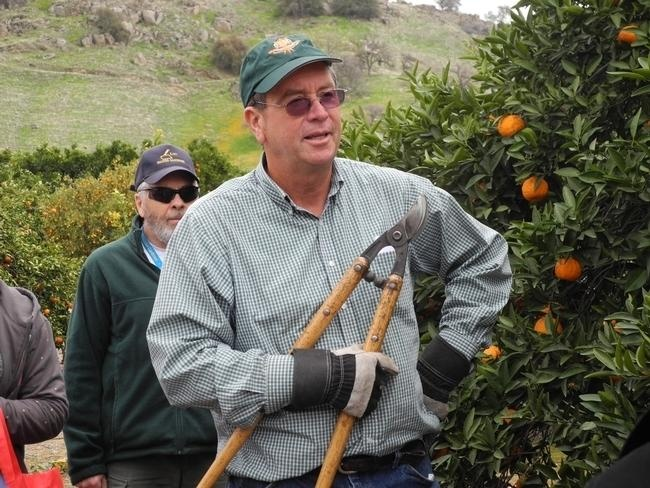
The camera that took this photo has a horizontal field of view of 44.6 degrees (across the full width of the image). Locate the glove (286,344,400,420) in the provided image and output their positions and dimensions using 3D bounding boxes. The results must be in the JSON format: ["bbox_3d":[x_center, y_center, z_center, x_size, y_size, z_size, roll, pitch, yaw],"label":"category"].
[{"bbox_3d":[0.099,0.581,3.529,0.465,0.252,0.329,-4,11,-9],"label":"glove"}]

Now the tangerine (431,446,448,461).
[{"bbox_3d":[0.695,1.292,4.774,0.058,0.104,0.084,3,-8,7],"label":"tangerine"}]

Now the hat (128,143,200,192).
[{"bbox_3d":[-1.123,-0.558,5.511,0.366,0.306,0.525,-9,0,-32],"label":"hat"}]

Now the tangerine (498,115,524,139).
[{"bbox_3d":[1.149,-0.739,4.901,0.126,0.157,0.135,-2,6,11],"label":"tangerine"}]

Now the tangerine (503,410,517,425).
[{"bbox_3d":[1.082,1.029,4.625,0.068,0.050,0.089,-39,14,52],"label":"tangerine"}]

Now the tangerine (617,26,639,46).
[{"bbox_3d":[1.772,-1.242,4.613,0.081,0.102,0.158,10,13,1],"label":"tangerine"}]

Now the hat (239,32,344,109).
[{"bbox_3d":[-0.177,-0.870,3.797,0.417,0.332,0.585,-13,3,-22],"label":"hat"}]

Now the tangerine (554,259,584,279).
[{"bbox_3d":[1.403,0.151,4.557,0.111,0.137,0.126,-9,11,17],"label":"tangerine"}]

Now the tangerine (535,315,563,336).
[{"bbox_3d":[1.309,0.491,4.636,0.111,0.143,0.126,2,-1,5],"label":"tangerine"}]

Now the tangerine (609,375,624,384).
[{"bbox_3d":[1.544,0.737,4.192,0.055,0.054,0.064,2,-7,-23],"label":"tangerine"}]
